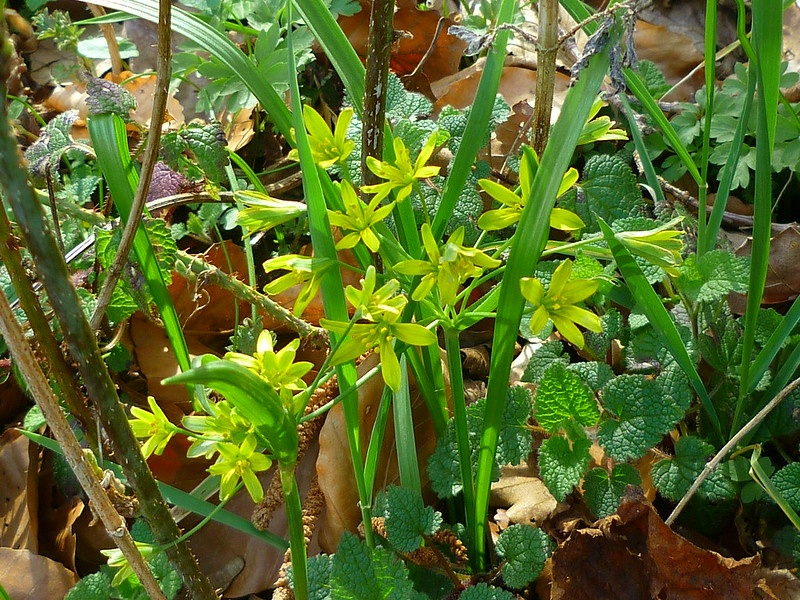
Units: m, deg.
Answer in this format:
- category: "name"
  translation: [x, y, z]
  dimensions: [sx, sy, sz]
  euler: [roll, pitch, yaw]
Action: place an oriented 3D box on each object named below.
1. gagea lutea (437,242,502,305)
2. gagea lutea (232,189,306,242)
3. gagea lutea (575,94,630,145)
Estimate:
- category: "gagea lutea"
  translation: [0.125, -0.054, 1.303]
  dimensions: [0.109, 0.122, 0.125]
  euler: [0, 18, -3]
- category: "gagea lutea"
  translation: [-0.286, -0.188, 1.486]
  dimensions: [0.153, 0.113, 0.101]
  euler: [0, -11, -11]
- category: "gagea lutea"
  translation: [0.509, -0.467, 1.686]
  dimensions: [0.117, 0.057, 0.100]
  euler: [-12, 23, -21]
